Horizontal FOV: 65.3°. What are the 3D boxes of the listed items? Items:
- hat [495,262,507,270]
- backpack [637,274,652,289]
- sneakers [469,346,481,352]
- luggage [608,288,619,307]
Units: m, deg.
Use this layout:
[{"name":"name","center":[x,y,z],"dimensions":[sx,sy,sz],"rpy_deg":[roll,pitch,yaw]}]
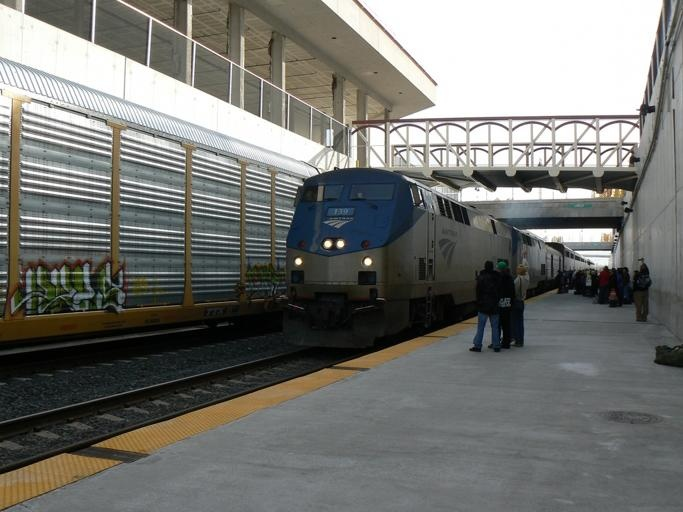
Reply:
[{"name":"hat","center":[3.695,0.214,12.355],"dimensions":[0.219,0.159,0.296],"rpy_deg":[4,8,24]},{"name":"backpack","center":[9.074,0.758,15.984],"dimensions":[0.301,0.416,0.424],"rpy_deg":[-2,-9,27]},{"name":"sneakers","center":[2.601,1.812,10.396],"dimensions":[0.094,0.103,0.229],"rpy_deg":[1,4,-37]},{"name":"luggage","center":[11.624,1.740,22.766],"dimensions":[0.308,0.740,1.180],"rpy_deg":[0,-1,27]}]
